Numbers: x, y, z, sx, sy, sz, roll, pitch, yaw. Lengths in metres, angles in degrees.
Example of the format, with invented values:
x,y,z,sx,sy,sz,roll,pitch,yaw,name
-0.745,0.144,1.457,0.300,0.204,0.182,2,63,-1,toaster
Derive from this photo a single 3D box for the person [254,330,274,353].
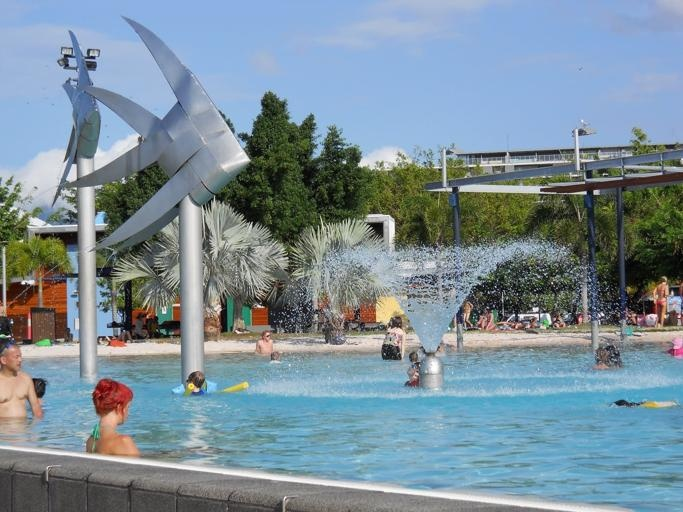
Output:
x,y,z,sx,sy,sz,roll,pitch,yaw,name
-2.824,3.145,49.652,0.671,0.834,0.401,1,-7,-29,person

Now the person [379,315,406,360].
x,y,z,sx,sy,sz,roll,pitch,yaw,name
1.591,2.613,43.494,0.690,1.404,1.212,-2,-4,1,person

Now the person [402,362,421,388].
x,y,z,sx,sy,sz,roll,pitch,yaw,name
2.013,3.229,37.006,0.479,0.824,0.571,-1,-7,34,person

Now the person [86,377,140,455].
x,y,z,sx,sy,sz,roll,pitch,yaw,name
-4.572,3.235,27.204,0.988,1.547,0.608,-2,-4,-4,person
